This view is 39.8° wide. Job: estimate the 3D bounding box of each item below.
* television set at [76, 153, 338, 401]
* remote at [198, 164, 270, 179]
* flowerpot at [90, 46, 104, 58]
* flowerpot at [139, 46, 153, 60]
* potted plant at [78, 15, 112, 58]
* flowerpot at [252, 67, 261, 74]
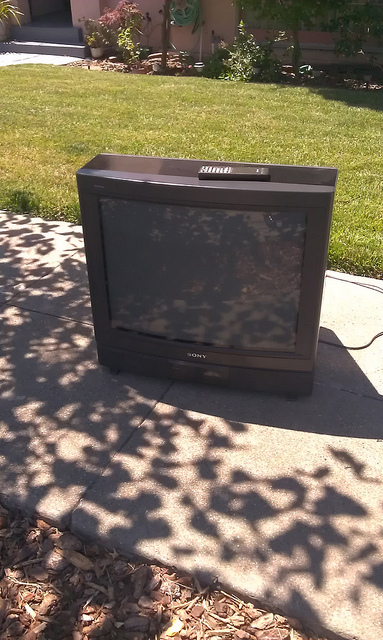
[{"bbox_3d":[0.093,-0.428,3.742,1.802,1.430,1.398,3,27,5],"label":"television set"},{"bbox_3d":[0.226,-0.768,2.745,0.237,0.049,0.130,2,38,11],"label":"remote"},{"bbox_3d":[-2.983,-8.660,17.088,0.470,0.330,0.384,-17,30,-29],"label":"flowerpot"},{"bbox_3d":[-1.455,-8.575,16.972,0.405,0.386,1.001,-2,26,-2],"label":"flowerpot"},{"bbox_3d":[-3.094,-9.047,17.268,0.460,0.793,0.554,-22,24,-41],"label":"potted plant"},{"bbox_3d":[1.672,-6.440,13.667,0.242,0.150,0.060,-16,29,-27],"label":"flowerpot"}]
